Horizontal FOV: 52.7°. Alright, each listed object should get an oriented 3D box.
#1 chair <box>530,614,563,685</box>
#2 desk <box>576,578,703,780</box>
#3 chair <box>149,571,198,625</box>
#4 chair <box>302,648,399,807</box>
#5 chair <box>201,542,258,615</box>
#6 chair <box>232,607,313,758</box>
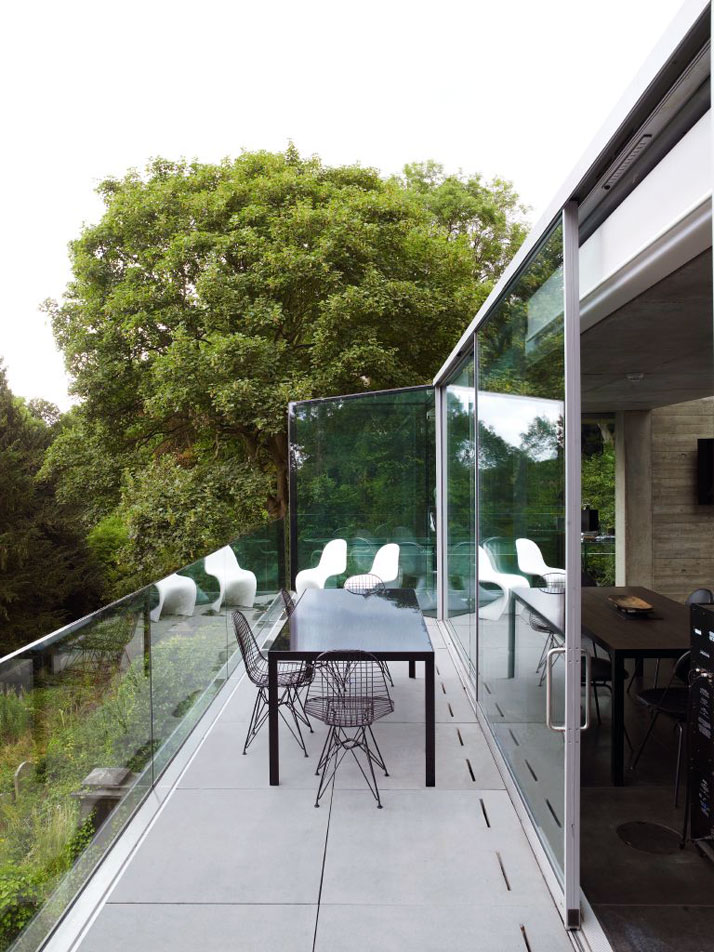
[{"bbox_3d":[0.734,0.678,2.834,0.189,0.266,0.214,-4,0,15],"label":"chair"},{"bbox_3d":[1.430,1.066,3.694,0.365,0.421,1.148,-1,3,-1],"label":"desk"},{"bbox_3d":[-1.008,0.667,3.969,0.250,0.308,0.320,1,3,14],"label":"chair"},{"bbox_3d":[-0.038,1.322,3.927,0.439,0.772,0.612,0,1,8],"label":"chair"},{"bbox_3d":[-0.971,0.783,5.487,0.444,0.609,0.392,1,2,43],"label":"chair"},{"bbox_3d":[-0.504,1.204,4.271,0.501,0.746,0.439,3,1,10],"label":"chair"}]
